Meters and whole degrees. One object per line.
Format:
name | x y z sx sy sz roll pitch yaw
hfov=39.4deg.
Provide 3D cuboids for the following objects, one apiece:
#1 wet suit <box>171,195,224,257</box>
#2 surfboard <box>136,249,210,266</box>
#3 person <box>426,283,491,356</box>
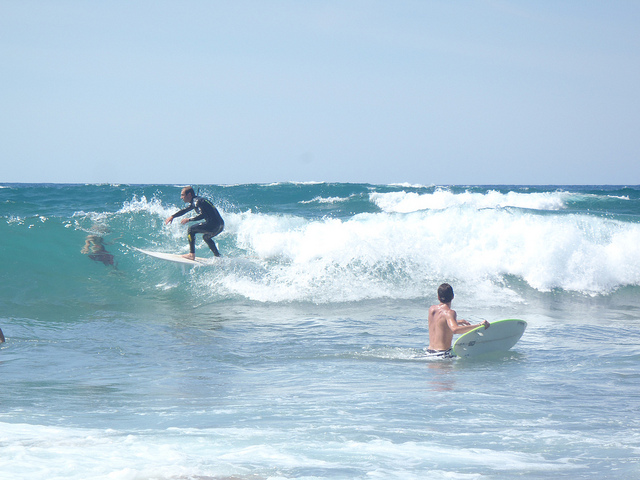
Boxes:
wet suit | -2.590 -0.250 19.601 0.924 1.491 0.597 -8 15 -32
surfboard | -3.446 0.391 20.386 0.437 0.202 2.670 20 -8 -43
person | 2.486 1.499 15.987 0.735 1.362 0.679 -20 30 -35
